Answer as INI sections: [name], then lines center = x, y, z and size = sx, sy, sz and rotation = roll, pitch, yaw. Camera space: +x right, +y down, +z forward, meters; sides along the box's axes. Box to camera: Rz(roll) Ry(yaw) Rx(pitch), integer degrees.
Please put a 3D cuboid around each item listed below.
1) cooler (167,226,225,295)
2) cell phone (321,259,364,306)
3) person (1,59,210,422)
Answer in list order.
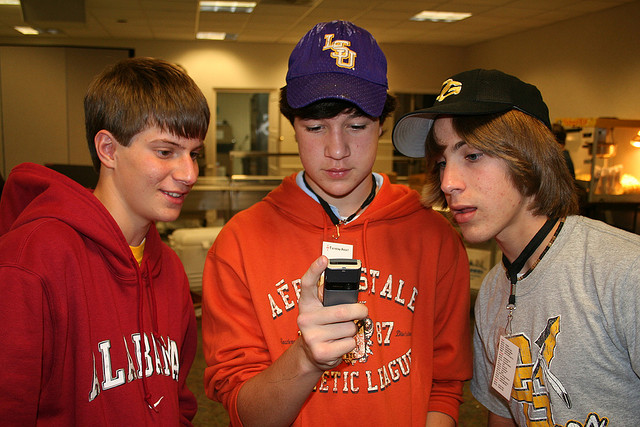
[cooler]
center = -0.989, 0.398, 4.974
size = 0.495, 0.498, 0.397
rotation = -3, 7, 11
[cell phone]
center = 0.076, 0.259, 1.889
size = 0.123, 0.245, 0.034
rotation = 0, 42, -3
[person]
center = -0.845, 0.146, 2.140
size = 0.867, 1.537, 0.431
rotation = -7, 11, -38
